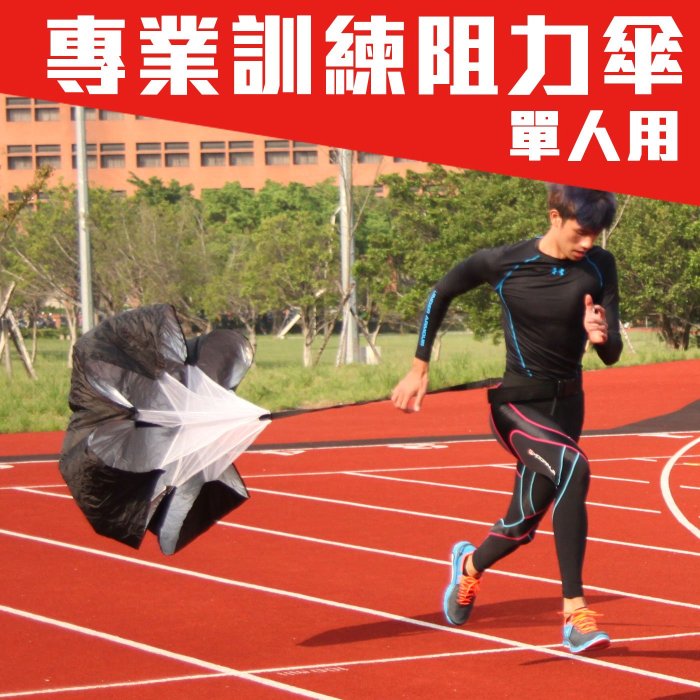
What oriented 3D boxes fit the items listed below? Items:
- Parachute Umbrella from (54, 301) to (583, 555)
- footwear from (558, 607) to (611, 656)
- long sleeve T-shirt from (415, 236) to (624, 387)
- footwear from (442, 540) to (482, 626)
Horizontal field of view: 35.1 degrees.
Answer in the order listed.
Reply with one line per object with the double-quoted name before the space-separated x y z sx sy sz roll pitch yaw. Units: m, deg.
"Parachute Umbrella" -0.475 0.440 6.282 2.168 1.284 1.060 -6 -32 15
"footwear" 1.107 1.345 5.252 0.146 0.153 0.316 -7 -15 -10
"long sleeve T-shirt" 0.885 -0.154 5.421 1.029 0.794 0.579 2 9 -2
"footwear" 0.602 1.196 5.735 0.160 0.470 0.214 7 -12 -28
